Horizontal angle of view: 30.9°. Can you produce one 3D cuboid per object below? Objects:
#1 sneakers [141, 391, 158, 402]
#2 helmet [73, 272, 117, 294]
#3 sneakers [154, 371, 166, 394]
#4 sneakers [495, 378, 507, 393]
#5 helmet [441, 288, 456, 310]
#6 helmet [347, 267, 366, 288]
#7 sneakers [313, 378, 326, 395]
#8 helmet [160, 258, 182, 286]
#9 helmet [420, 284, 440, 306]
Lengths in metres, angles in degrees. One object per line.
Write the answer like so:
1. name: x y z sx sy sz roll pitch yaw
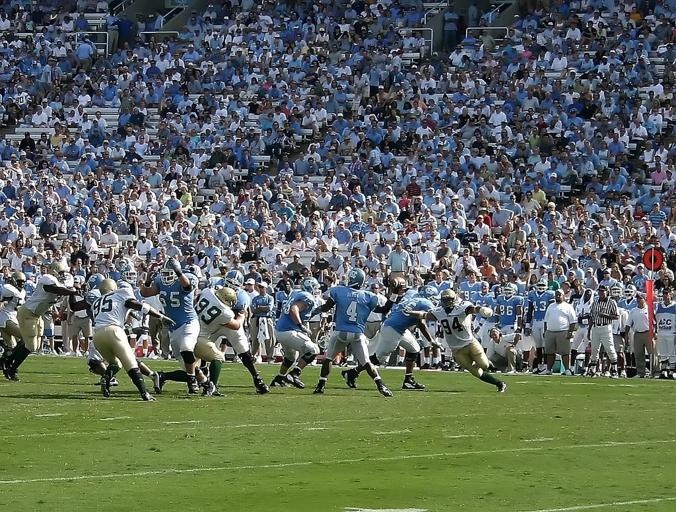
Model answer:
1. sneakers: -2.908 2.168 18.851 0.112 0.131 0.294 -26 -18 -13
2. helmet: -4.460 0.520 22.597 0.576 0.211 0.331 -5 13 5
3. sneakers: -2.830 2.020 19.521 0.207 0.379 0.134 3 5 4
4. sneakers: 2.787 2.216 20.840 0.114 0.131 0.300 4 4 15
5. helmet: 1.879 0.738 20.717 0.248 0.325 0.369 -1 -3 4
6. helmet: 0.315 0.396 20.569 0.275 0.336 0.389 -1 -3 -2
7. sneakers: -0.301 2.178 20.435 0.191 0.238 0.326 -1 -3 -1
8. helmet: -2.645 0.265 19.382 0.342 0.350 0.426 -1 0 12
9. helmet: 1.695 0.701 21.648 0.351 0.309 0.273 27 -11 -22
